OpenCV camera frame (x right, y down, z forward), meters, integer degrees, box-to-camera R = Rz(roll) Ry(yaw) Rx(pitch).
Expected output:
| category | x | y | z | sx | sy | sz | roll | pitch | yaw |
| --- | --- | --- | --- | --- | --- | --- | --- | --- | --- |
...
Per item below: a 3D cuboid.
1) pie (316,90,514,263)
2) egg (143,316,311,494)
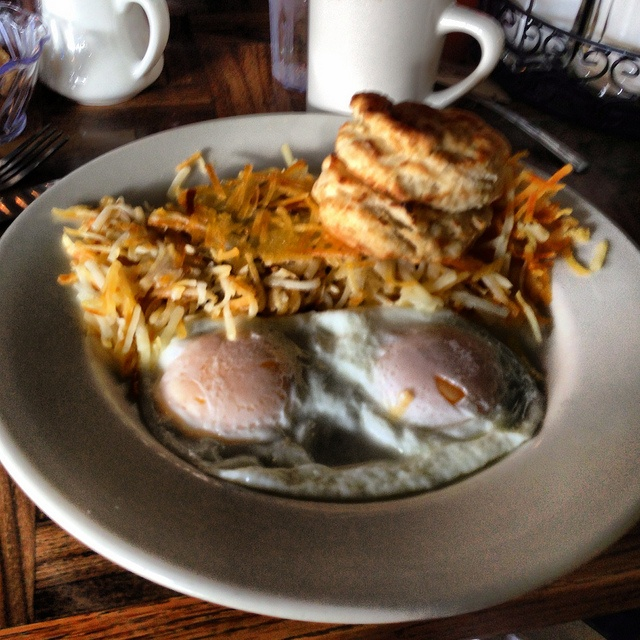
| category | x | y | z | sx | sy | sz | roll | pitch | yaw |
| --- | --- | --- | --- | --- | --- | --- | --- | --- | --- |
| pie | 0.105 | -0.201 | 0.896 | 0.227 | 0.215 | 0.195 | -8 | 24 | -19 |
| egg | -0.120 | 0.071 | 0.816 | 0.221 | 0.136 | 0.170 | -16 | 33 | -27 |
